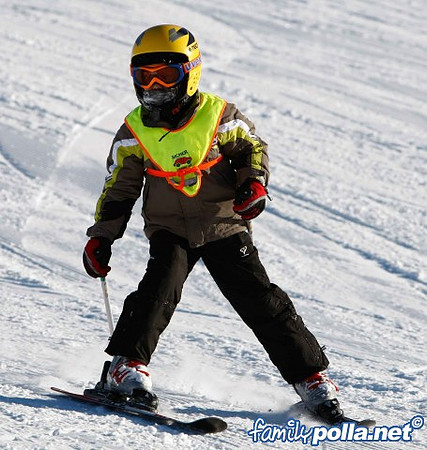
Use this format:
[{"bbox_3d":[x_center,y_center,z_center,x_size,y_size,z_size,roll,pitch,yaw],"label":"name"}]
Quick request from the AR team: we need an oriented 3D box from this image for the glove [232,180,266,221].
[{"bbox_3d":[0.188,-0.142,3.607,0.172,0.212,0.157,29,11,0],"label":"glove"}]

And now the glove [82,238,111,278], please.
[{"bbox_3d":[-0.645,0.171,3.724,0.127,0.225,0.124,-26,-19,39],"label":"glove"}]

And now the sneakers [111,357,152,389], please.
[{"bbox_3d":[-0.448,0.768,3.574,0.119,0.102,0.277,-1,9,-38],"label":"sneakers"}]
